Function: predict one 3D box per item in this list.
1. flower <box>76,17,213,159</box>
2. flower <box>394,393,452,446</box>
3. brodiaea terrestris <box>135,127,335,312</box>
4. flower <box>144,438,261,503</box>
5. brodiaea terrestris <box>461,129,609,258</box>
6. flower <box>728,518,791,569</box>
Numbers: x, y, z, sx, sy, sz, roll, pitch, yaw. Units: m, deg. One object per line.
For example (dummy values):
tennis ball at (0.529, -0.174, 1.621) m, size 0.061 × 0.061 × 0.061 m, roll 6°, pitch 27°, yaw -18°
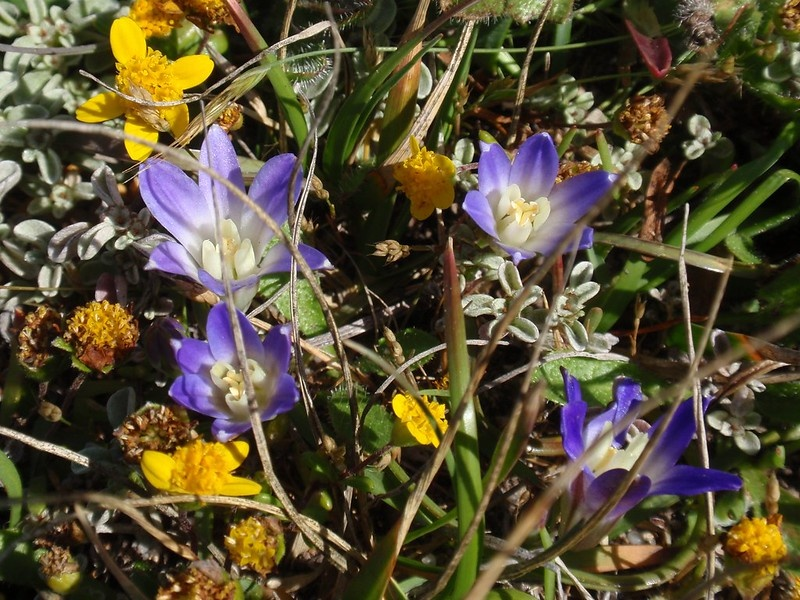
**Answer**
flower at (-0.775, -0.662, 2.350) m, size 0.328 × 0.413 × 0.170 m, roll -24°, pitch 75°, yaw 21°
flower at (0.070, 0.319, 2.061) m, size 0.165 × 0.096 × 0.147 m, roll -2°, pitch 23°, yaw 43°
brodiaea terrestris at (-0.447, -0.157, 2.230) m, size 0.474 × 0.343 × 0.547 m, roll -25°, pitch 85°, yaw -10°
flower at (-0.509, 0.444, 1.999) m, size 0.300 × 0.129 × 0.130 m, roll 3°, pitch 52°, yaw -5°
brodiaea terrestris at (0.395, -0.286, 2.252) m, size 0.402 × 0.409 × 0.203 m, roll -10°, pitch 74°, yaw -11°
flower at (0.965, 0.651, 2.073) m, size 0.126 × 0.072 × 0.132 m, roll -6°, pitch 79°, yaw 0°
